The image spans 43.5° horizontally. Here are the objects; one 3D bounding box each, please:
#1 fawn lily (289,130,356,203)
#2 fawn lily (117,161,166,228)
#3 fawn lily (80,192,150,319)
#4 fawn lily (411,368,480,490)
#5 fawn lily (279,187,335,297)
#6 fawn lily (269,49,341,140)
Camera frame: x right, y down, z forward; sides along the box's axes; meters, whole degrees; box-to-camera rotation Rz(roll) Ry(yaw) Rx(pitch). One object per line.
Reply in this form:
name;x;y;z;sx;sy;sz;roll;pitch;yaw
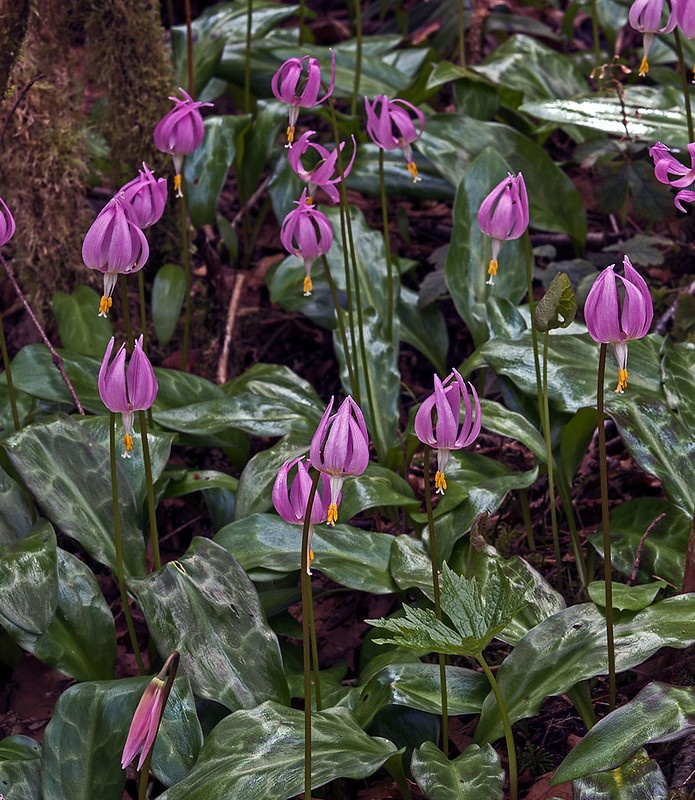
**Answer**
fawn lily;-0.102;-0.679;2.569;0.142;0.213;0.146;9;7;-9
fawn lily;-0.506;-0.492;2.184;0.085;0.143;0.080;7;6;23
fawn lily;-0.558;-0.340;2.071;0.116;0.286;0.128;5;-1;43
fawn lily;0.214;0.079;1.874;0.103;0.279;0.104;2;11;-2
fawn lily;-0.119;-0.463;2.603;0.122;0.298;0.167;-2;16;-2
fawn lily;-0.150;-0.909;2.634;0.116;0.295;0.164;18;17;13
